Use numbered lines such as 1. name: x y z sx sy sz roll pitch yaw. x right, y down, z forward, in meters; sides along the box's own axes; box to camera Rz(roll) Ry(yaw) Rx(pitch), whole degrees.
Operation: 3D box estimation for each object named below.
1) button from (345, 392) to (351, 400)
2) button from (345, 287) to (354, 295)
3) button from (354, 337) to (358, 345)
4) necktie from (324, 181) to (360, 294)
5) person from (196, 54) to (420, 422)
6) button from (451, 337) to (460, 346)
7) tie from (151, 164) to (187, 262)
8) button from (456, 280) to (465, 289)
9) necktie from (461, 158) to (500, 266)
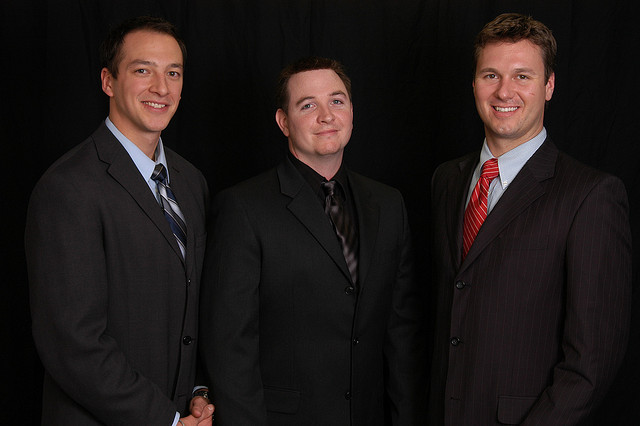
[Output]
1. button: 0.128 0.831 2.815 0.022 0.029 0.009 -9 8 0
2. button: 0.131 0.353 2.815 0.040 0.035 0.011 -2 -3 -7
3. button: 0.161 0.584 2.826 0.025 0.035 0.010 4 -6 1
4. necktie: 0.106 0.100 2.909 0.154 0.509 0.101 -3 -3 10
5. person: -0.044 0.134 2.925 1.087 1.776 0.275 -2 -3 -12
6. button: 0.610 0.580 2.796 0.036 0.040 0.008 -3 -3 12
7. tie: -0.701 -0.061 2.848 0.100 0.578 0.110 -5 -28 -29
8. button: 0.630 0.320 2.787 0.036 0.037 0.007 -3 -3 12
9. necktie: 0.745 -0.030 2.886 0.135 0.540 0.059 9 36 16
